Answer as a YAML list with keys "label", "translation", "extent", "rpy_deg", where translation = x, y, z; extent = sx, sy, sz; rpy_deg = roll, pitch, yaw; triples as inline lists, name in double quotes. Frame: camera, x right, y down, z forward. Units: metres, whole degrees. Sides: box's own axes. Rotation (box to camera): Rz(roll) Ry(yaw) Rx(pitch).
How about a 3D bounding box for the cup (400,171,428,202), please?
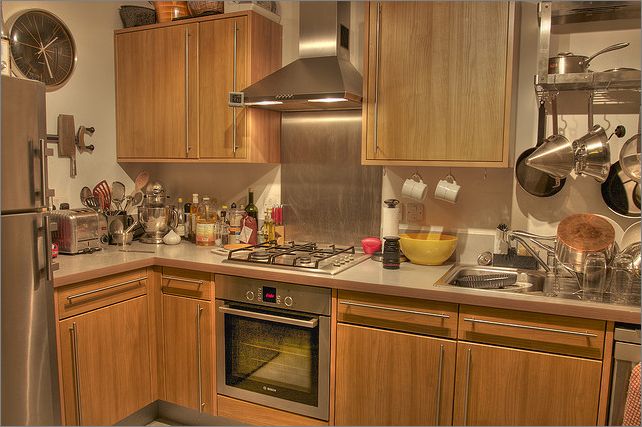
- label: "cup"
  translation: [0.649, -0.213, 3.385]
  extent: [0.158, 0.266, 0.177]
  rpy_deg: [-15, 42, 0]

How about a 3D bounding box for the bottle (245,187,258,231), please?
- label: "bottle"
  translation: [-0.553, -0.028, 3.871]
  extent: [0.100, 0.331, 0.220]
  rpy_deg: [-2, 7, -8]

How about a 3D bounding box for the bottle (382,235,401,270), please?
- label: "bottle"
  translation: [0.465, 0.261, 3.253]
  extent: [0.119, 0.206, 0.121]
  rpy_deg: [1, -1, 0]

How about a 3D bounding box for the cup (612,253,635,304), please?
- label: "cup"
  translation: [1.709, 0.371, 2.776]
  extent: [0.105, 0.207, 0.367]
  rpy_deg: [3, 8, 33]

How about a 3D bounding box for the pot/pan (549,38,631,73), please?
- label: "pot/pan"
  translation: [1.569, -0.857, 2.898]
  extent: [0.222, 0.173, 0.412]
  rpy_deg: [-10, 10, -41]

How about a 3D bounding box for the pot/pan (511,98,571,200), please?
- label: "pot/pan"
  translation: [1.399, -0.396, 3.129]
  extent: [0.305, 0.623, 0.267]
  rpy_deg: [2, 8, 27]

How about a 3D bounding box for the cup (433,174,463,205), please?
- label: "cup"
  translation: [0.856, -0.144, 3.310]
  extent: [0.157, 0.241, 0.144]
  rpy_deg: [-3, -1, 0]

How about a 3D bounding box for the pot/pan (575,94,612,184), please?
- label: "pot/pan"
  translation: [1.581, -0.349, 2.874]
  extent: [0.193, 0.325, 0.085]
  rpy_deg: [2, 8, 28]

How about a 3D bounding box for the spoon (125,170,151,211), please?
- label: "spoon"
  translation: [-1.500, -0.169, 3.918]
  extent: [0.119, 0.085, 0.596]
  rpy_deg: [27, -43, -17]

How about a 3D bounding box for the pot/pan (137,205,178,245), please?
- label: "pot/pan"
  translation: [-1.291, 0.081, 3.895]
  extent: [0.308, 0.282, 0.205]
  rpy_deg: [3, 11, -6]

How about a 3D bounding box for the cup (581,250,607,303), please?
- label: "cup"
  translation: [1.545, 0.356, 2.772]
  extent: [0.112, 0.231, 0.257]
  rpy_deg: [2, 8, 28]

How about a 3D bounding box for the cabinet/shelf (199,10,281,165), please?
- label: "cabinet/shelf"
  translation: [-0.626, -1.049, 3.709]
  extent: [0.451, 0.796, 0.403]
  rpy_deg: [0, -5, 34]

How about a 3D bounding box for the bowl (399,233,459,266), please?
- label: "bowl"
  translation: [0.740, 0.261, 3.436]
  extent: [0.412, 0.209, 0.427]
  rpy_deg: [0, 4, 0]

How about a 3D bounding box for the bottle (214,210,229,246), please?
- label: "bottle"
  translation: [-0.787, 0.101, 3.858]
  extent: [0.103, 0.274, 0.297]
  rpy_deg: [-3, 7, -12]

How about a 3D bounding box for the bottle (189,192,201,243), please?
- label: "bottle"
  translation: [-1.023, 0.038, 3.952]
  extent: [0.085, 0.378, 0.378]
  rpy_deg: [-3, 7, -15]

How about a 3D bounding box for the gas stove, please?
- label: "gas stove"
  translation: [-0.139, 0.289, 3.466]
  extent: [0.909, 0.100, 0.707]
  rpy_deg: [1, 8, 21]

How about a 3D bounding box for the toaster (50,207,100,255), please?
- label: "toaster"
  translation: [-1.743, 0.132, 3.560]
  extent: [0.254, 0.305, 0.314]
  rpy_deg: [10, 11, 25]
